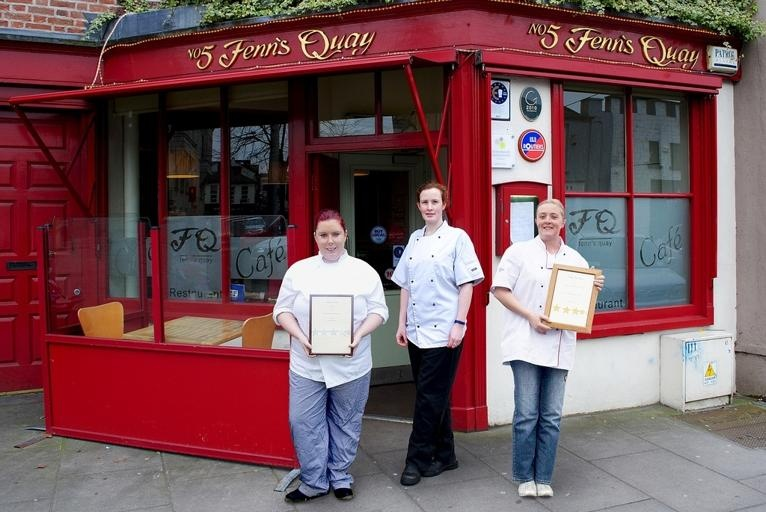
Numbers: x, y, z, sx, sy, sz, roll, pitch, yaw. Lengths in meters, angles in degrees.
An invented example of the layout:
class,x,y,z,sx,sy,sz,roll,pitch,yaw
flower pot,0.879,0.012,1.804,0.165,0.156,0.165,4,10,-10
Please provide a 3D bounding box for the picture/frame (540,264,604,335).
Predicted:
class,x,y,z,sx,sy,sz,roll,pitch,yaw
picture/frame,1.576,0.357,5.353,0.448,0.559,0.206,2,11,9

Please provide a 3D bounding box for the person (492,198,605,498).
class,x,y,z,sx,sy,sz,roll,pitch,yaw
person,1.284,0.796,5.494,0.717,2.498,0.510,2,11,11

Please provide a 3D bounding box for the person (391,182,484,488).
class,x,y,z,sx,sy,sz,roll,pitch,yaw
person,0.463,0.687,5.698,0.747,2.613,0.618,0,11,0

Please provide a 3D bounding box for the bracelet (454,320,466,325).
class,x,y,z,sx,sy,sz,roll,pitch,yaw
bracelet,0.672,0.578,5.592,0.104,0.054,0.061,-2,12,-8

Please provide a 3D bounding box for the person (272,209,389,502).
class,x,y,z,sx,sy,sz,roll,pitch,yaw
person,-0.451,0.852,5.461,0.907,2.426,0.519,-3,11,-12

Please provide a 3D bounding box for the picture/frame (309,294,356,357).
class,x,y,z,sx,sy,sz,roll,pitch,yaw
picture/frame,-0.420,0.577,5.263,0.471,0.655,0.053,1,-4,-2

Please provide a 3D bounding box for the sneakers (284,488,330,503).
class,x,y,z,sx,sy,sz,roll,pitch,yaw
sneakers,-0.637,2.059,5.501,0.341,0.108,0.126,2,0,-24

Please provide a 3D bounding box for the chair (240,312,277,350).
class,x,y,z,sx,sy,sz,roll,pitch,yaw
chair,-1.211,0.750,6.219,0.294,0.434,0.339,2,8,-17

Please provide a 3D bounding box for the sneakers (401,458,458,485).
class,x,y,z,sx,sy,sz,roll,pitch,yaw
sneakers,0.405,1.937,5.820,0.534,0.239,0.181,-2,2,-36
